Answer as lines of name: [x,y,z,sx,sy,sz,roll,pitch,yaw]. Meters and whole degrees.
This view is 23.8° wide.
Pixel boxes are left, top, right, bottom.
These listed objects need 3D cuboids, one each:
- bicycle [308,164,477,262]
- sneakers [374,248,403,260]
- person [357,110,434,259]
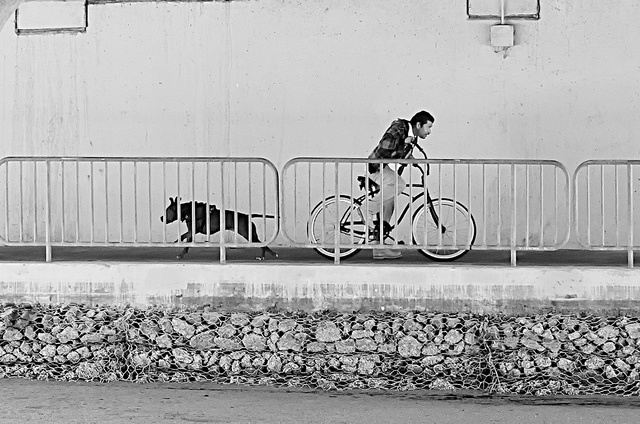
bicycle: [1.086,0.042,23.366,2.591,1.495,1.343,0,3,3]
sneakers: [1.001,0.652,23.468,0.442,0.184,0.170,-1,2,2]
person: [1.145,-0.460,23.226,0.946,2.311,1.574,0,-11,3]
